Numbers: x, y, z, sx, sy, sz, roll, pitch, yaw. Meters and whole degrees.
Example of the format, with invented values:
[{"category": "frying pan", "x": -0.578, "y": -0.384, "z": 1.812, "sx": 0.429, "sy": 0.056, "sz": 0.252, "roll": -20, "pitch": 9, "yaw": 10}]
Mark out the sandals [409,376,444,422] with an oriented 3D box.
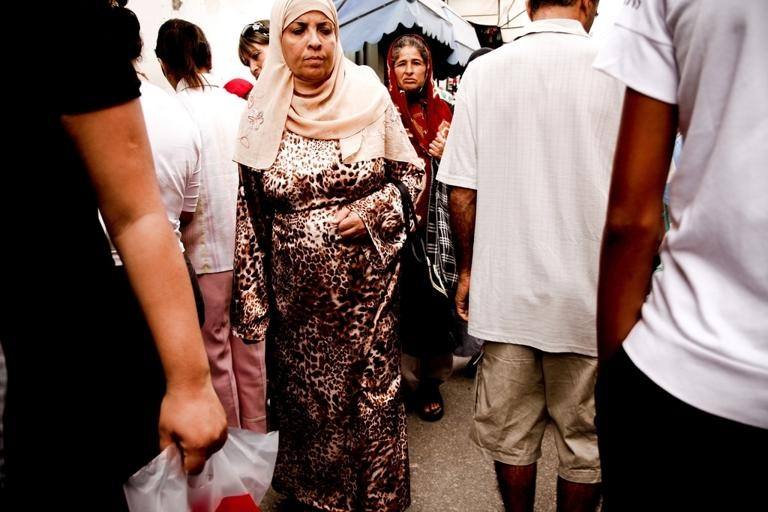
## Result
[{"category": "sandals", "x": 0.280, "y": 0.901, "z": 3.740, "sx": 0.126, "sy": 0.145, "sz": 0.351, "roll": -5, "pitch": 5, "yaw": -5}]
